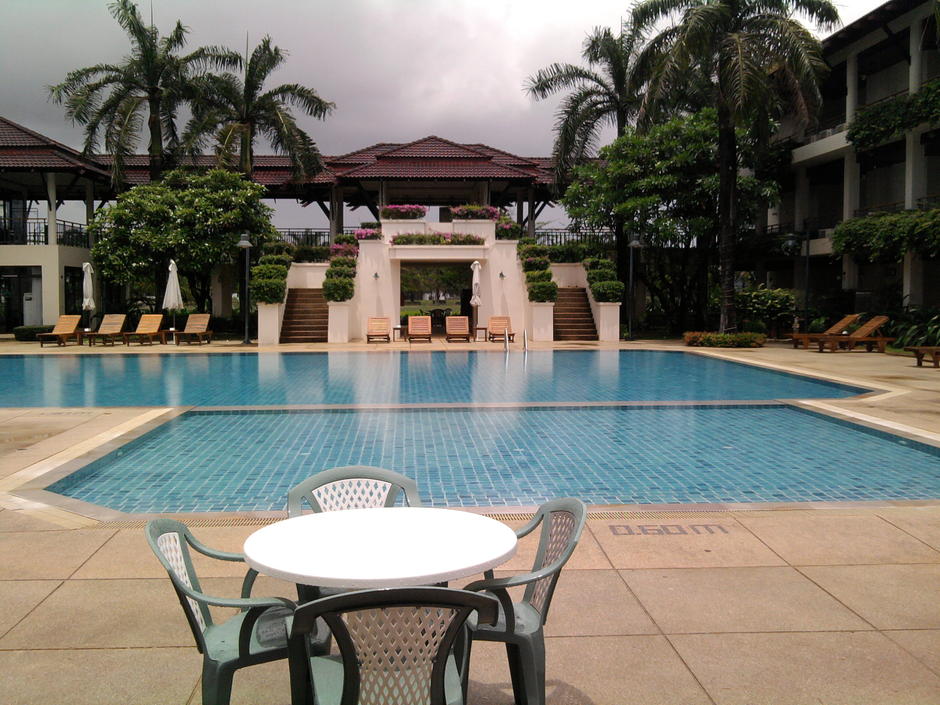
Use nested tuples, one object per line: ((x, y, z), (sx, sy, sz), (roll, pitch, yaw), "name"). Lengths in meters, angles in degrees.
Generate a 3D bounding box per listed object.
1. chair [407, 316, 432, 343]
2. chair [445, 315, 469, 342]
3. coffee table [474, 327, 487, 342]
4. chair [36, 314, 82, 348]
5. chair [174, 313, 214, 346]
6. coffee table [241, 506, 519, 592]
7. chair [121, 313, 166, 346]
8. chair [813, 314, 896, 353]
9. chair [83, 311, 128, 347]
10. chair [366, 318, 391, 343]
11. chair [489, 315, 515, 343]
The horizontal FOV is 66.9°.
((-1.758, -0.809, 25.029), (0.783, 0.918, 1.362), (-1, 2, -5), "chair")
((-0.386, -0.899, 25.599), (0.961, 1.017, 0.802), (-1, 9, -11), "chair")
((0.411, -0.679, 26.428), (0.431, 0.461, 0.458), (-1, 0, -1), "coffee table")
((-13.434, -0.761, 23.585), (0.891, 1.033, 3.074), (-2, 2, -31), "chair")
((-9.334, -0.782, 24.276), (0.997, 1.285, 1.632), (0, 1, -1), "chair")
((-0.423, 0.995, 3.481), (1.271, 0.279, 0.862), (0, 2, 17), "coffee table")
((-10.790, -0.780, 23.869), (1.098, 1.306, 1.764), (0, 1, -5), "chair")
((11.776, -0.577, 21.796), (1.752, 1.063, 4.378), (0, 2, 30), "chair")
((-12.147, -0.750, 23.927), (1.079, 1.440, 2.114), (0, 0, 0), "chair")
((-3.174, -0.799, 24.767), (0.805, 0.845, 0.830), (-1, 2, -18), "chair")
((1.124, -0.859, 24.976), (0.693, 0.836, 1.210), (0, 0, 0), "chair")
